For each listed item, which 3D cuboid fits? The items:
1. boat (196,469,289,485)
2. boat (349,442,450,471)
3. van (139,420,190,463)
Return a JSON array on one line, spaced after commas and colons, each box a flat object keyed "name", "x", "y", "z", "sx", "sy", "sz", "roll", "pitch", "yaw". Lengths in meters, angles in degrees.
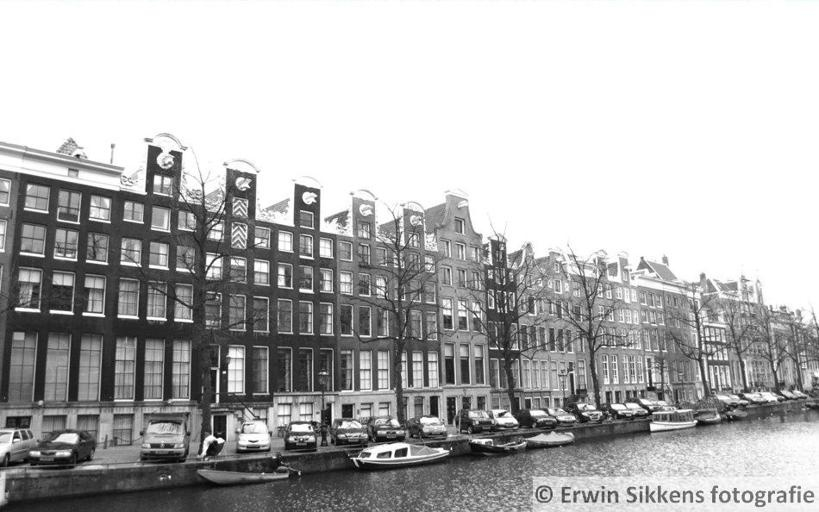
[{"name": "boat", "x": -11.833, "y": 15.863, "z": 52.090, "sx": 6.013, "sy": 0.909, "sz": 1.876, "roll": 12, "pitch": -18, "yaw": -29}, {"name": "boat", "x": -0.597, "y": 15.772, "z": 57.260, "sx": 8.011, "sy": 1.619, "sz": 2.381, "roll": 1, "pitch": -3, "yaw": -21}, {"name": "van", "x": -17.960, "y": 13.629, "z": 53.698, "sx": 2.524, "sy": 2.319, "sz": 5.712, "roll": 1, "pitch": -7, "yaw": -14}]
